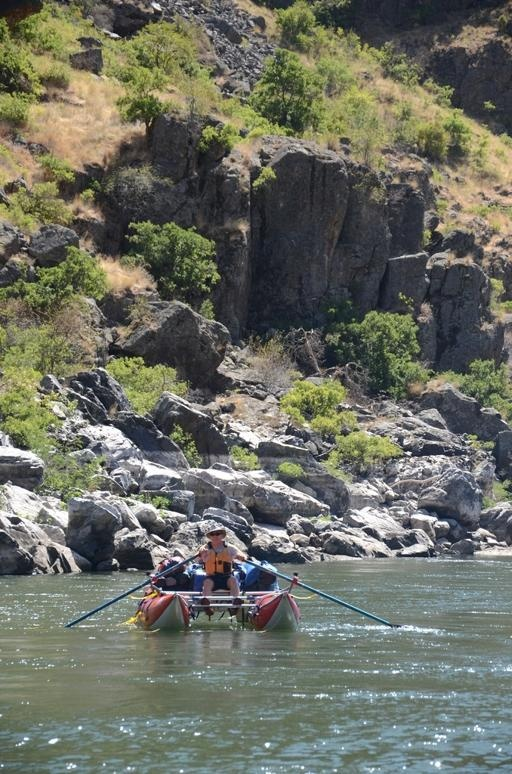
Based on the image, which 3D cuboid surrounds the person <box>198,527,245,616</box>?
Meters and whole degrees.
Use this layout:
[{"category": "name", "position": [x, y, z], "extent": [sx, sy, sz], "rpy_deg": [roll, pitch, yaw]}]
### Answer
[{"category": "person", "position": [-0.777, 4.126, 43.597], "extent": [0.625, 1.999, 0.887], "rpy_deg": [0, -1, -2]}]

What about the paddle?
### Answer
[{"category": "paddle", "position": [1.993, 4.788, 43.417], "extent": [3.060, 0.517, 0.182], "rpy_deg": [26, 17, 29]}]
